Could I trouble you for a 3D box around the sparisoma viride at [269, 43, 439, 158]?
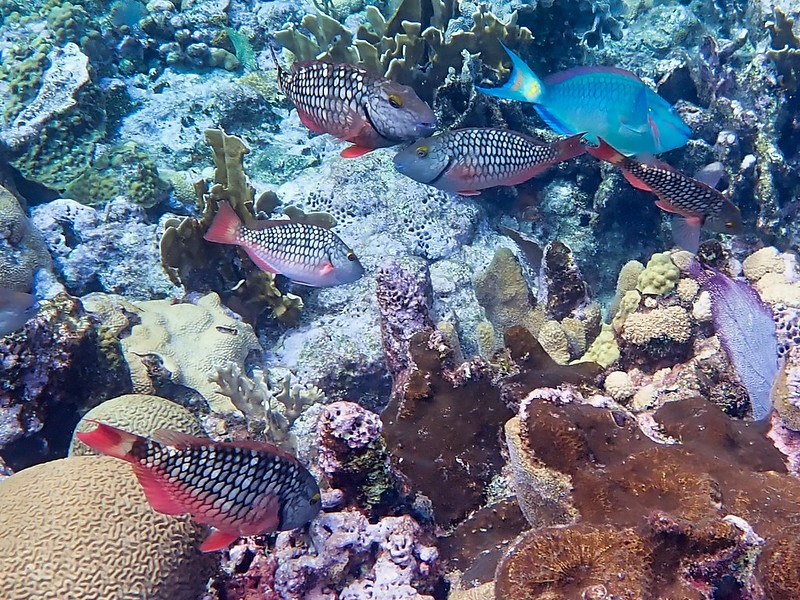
[{"bbox_3d":[-0.374,-1.527,7.022,1.306,0.696,0.503,5,50,19],"label":"sparisoma viride"}]
